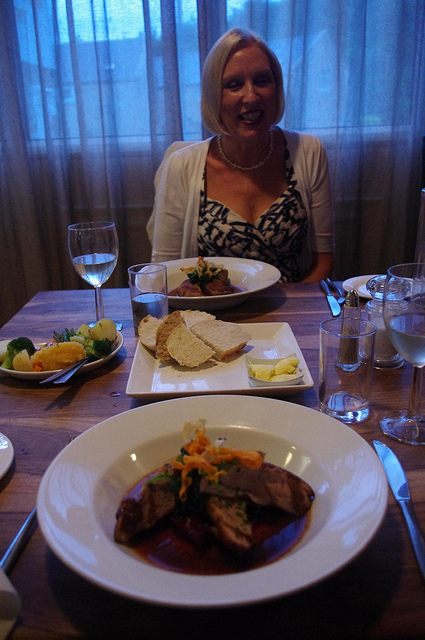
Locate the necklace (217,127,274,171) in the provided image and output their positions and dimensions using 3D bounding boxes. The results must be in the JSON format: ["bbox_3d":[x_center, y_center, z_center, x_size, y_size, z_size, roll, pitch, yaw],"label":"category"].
[{"bbox_3d":[0.186,-0.946,2.673,0.315,0.196,0.185,-1,23,2],"label":"necklace"}]

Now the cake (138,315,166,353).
[{"bbox_3d":[-0.180,0.033,1.367,0.086,0.024,0.089,4,46,26],"label":"cake"}]

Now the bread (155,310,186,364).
[{"bbox_3d":[-0.111,0.057,1.263,0.117,0.076,0.026,-12,-8,42],"label":"bread"}]

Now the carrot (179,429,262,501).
[{"bbox_3d":[-0.001,0.228,0.772,0.167,0.068,0.096,-20,42,24],"label":"carrot"}]

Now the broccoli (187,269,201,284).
[{"bbox_3d":[-0.074,-0.152,1.672,0.043,0.041,0.013,5,-6,9],"label":"broccoli"}]

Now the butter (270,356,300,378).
[{"bbox_3d":[0.163,0.101,1.099,0.048,0.013,0.046,-29,2,25],"label":"butter"}]

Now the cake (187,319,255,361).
[{"bbox_3d":[0.036,0.042,1.329,0.116,0.032,0.128,-18,35,-28],"label":"cake"}]

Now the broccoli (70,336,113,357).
[{"bbox_3d":[-0.326,0.066,1.260,0.075,0.037,0.061,24,1,5],"label":"broccoli"}]

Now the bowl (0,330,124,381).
[{"bbox_3d":[-0.405,0.103,1.278,0.310,0.058,0.225,-3,24,-1],"label":"bowl"}]

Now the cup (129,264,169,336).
[{"bbox_3d":[-0.199,-0.042,1.522,0.128,0.219,0.131,5,36,-3],"label":"cup"}]

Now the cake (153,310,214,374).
[{"bbox_3d":[-0.090,0.067,1.260,0.131,0.145,0.038,-1,-18,-17],"label":"cake"}]

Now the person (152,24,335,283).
[{"bbox_3d":[0.170,-0.856,2.627,1.018,1.268,0.540,4,24,13],"label":"person"}]

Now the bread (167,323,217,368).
[{"bbox_3d":[-0.060,0.068,1.256,0.116,0.076,0.133,-12,26,-23],"label":"bread"}]
